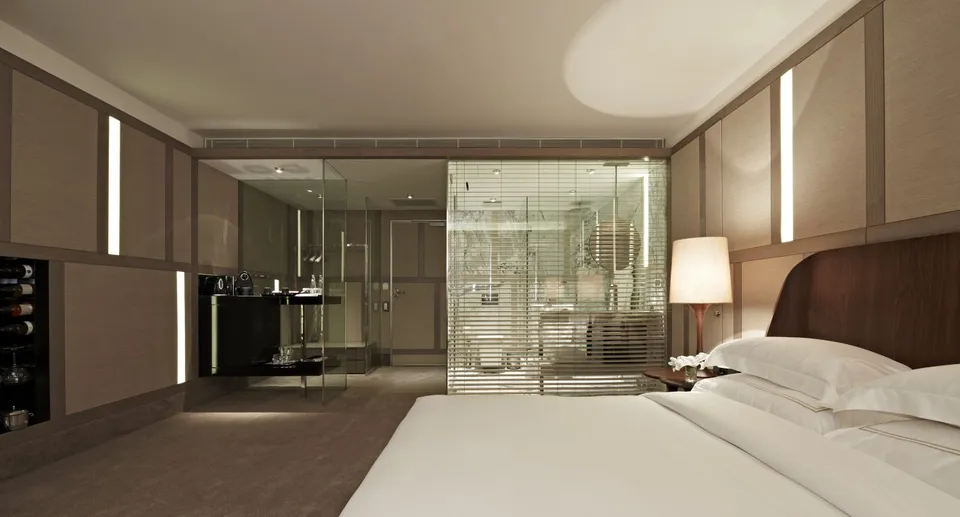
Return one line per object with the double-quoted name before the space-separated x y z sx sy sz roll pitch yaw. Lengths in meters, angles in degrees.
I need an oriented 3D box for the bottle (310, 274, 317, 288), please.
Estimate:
"bottle" -2.208 0.308 7.934 0.089 0.163 0.027 -2 -7 -3
